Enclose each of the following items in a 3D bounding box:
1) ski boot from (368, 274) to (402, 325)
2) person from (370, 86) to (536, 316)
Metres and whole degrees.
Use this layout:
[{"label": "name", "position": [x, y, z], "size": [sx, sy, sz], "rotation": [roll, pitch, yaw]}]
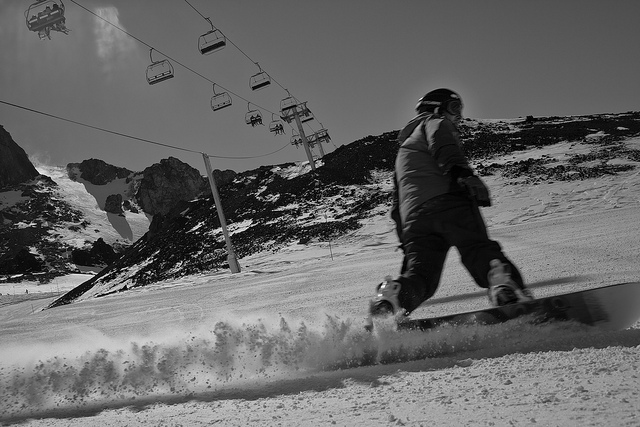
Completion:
[{"label": "ski boot", "position": [0.650, 0.873, 5.460], "size": [0.139, 0.276, 0.439], "rotation": [18, -48, -16]}, {"label": "person", "position": [1.229, -0.180, 5.775], "size": [1.429, 2.358, 0.772], "rotation": [-10, -3, 7]}]
